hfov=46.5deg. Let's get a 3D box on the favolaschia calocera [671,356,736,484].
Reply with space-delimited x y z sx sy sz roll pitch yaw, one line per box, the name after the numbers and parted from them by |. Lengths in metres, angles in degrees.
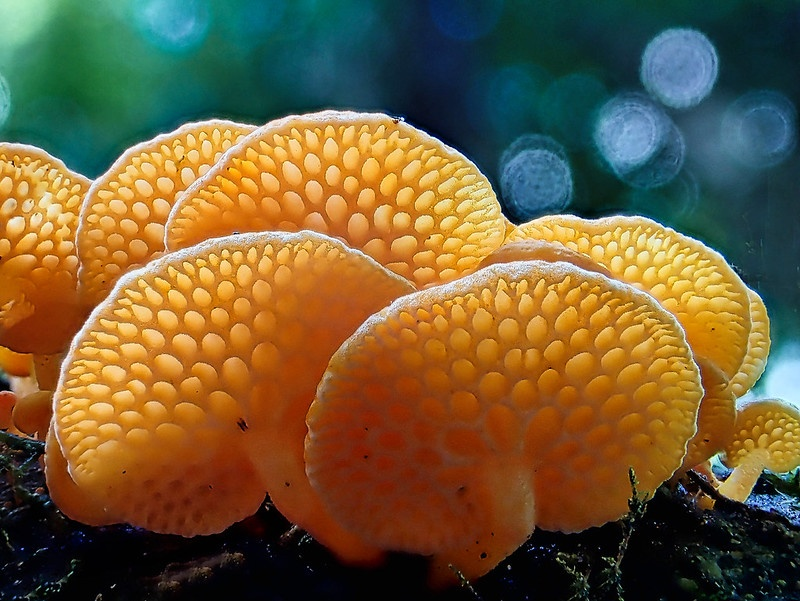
0.669 0.244 2.005 0.067 0.209 0.230 20 90 17 | favolaschia calocera
